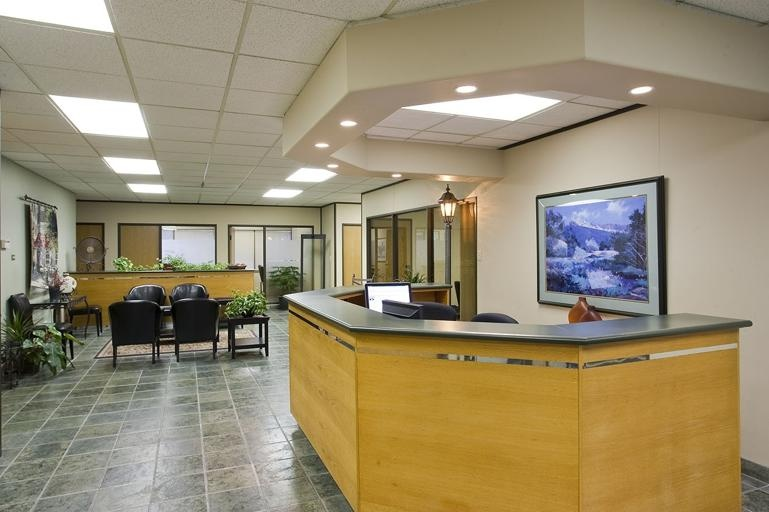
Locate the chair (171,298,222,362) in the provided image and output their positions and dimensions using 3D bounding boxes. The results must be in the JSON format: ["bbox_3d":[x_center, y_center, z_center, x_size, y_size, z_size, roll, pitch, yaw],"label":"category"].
[{"bbox_3d":[-2.939,1.093,7.866,0.797,0.825,0.820,0,-3,-24],"label":"chair"}]

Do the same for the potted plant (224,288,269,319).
[{"bbox_3d":[-2.243,0.777,8.131,0.605,0.311,0.575,0,-4,-18],"label":"potted plant"}]

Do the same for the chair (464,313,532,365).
[{"bbox_3d":[0.987,0.690,4.592,0.339,0.346,0.294,1,1,-43],"label":"chair"}]

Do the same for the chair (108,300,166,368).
[{"bbox_3d":[-3.706,1.161,7.419,0.751,0.810,0.640,1,-14,-27],"label":"chair"}]

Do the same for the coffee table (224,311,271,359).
[{"bbox_3d":[-2.231,1.289,8.123,0.904,0.723,0.740,1,-4,-19],"label":"coffee table"}]

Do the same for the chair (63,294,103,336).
[{"bbox_3d":[-5.646,1.089,9.589,0.417,0.559,0.352,0,-7,-16],"label":"chair"}]

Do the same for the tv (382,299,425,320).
[{"bbox_3d":[0.128,0.440,4.132,0.399,0.128,0.193,3,9,22],"label":"tv"}]

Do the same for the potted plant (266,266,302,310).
[{"bbox_3d":[-2.735,0.780,13.609,0.918,1.025,0.381,-3,10,-12],"label":"potted plant"}]

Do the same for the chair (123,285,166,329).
[{"bbox_3d":[-4.317,0.917,9.082,0.671,0.708,0.691,0,3,-25],"label":"chair"}]

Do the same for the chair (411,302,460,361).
[{"bbox_3d":[0.560,0.687,5.437,0.413,0.429,0.410,-4,-12,14],"label":"chair"}]

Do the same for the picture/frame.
[{"bbox_3d":[2.615,-0.086,5.770,0.674,1.419,1.815,-1,1,-21],"label":"picture/frame"}]

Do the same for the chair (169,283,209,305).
[{"bbox_3d":[-3.593,0.682,9.264,0.560,0.601,0.576,2,-6,-22],"label":"chair"}]
